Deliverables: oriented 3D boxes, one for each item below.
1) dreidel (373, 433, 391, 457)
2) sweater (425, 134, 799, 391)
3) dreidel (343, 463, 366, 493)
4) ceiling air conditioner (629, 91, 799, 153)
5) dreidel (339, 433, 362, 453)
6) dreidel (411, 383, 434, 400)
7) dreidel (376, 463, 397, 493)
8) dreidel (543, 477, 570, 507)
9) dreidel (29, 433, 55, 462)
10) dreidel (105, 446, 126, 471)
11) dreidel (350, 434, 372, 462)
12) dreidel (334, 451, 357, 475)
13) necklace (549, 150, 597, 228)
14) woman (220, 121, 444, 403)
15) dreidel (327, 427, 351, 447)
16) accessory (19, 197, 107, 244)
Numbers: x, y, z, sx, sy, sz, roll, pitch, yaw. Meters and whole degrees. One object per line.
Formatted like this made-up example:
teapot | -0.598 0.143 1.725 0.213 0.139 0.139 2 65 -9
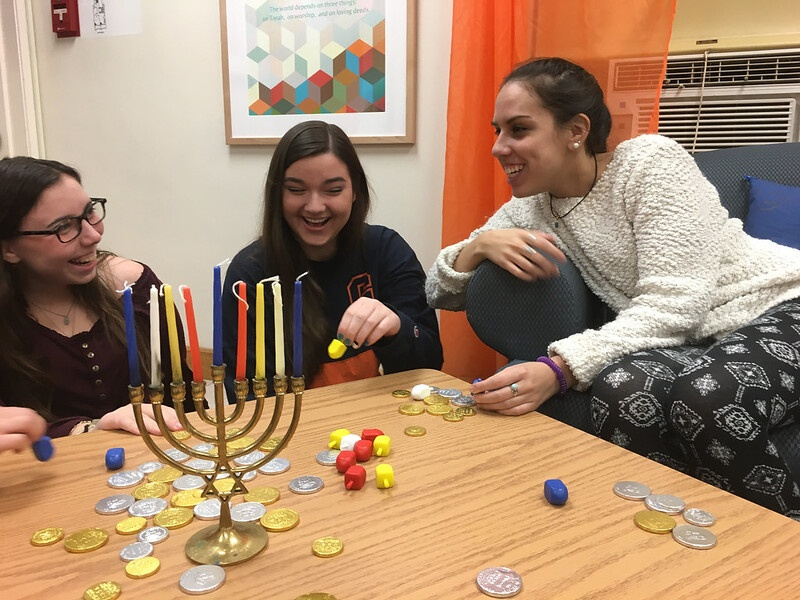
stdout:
dreidel | -0.034 0.283 1.118 0.036 0.023 0.036 5 9 29
sweater | 0.675 -0.137 1.688 1.003 0.465 0.606 -9 1 -16
dreidel | -0.080 0.319 1.017 0.028 0.024 0.046 3 20 10
ceiling air conditioner | 1.337 -0.735 2.332 0.642 0.300 0.273 7 -25 18
dreidel | -0.102 0.283 1.132 0.026 0.016 0.035 -1 2 10
dreidel | 0.056 0.219 1.365 0.032 0.019 0.043 5 11 38
dreidel | -0.026 0.321 1.016 0.031 0.027 0.041 2 7 -1
dreidel | 0.271 0.329 0.966 0.038 0.035 0.053 -10 17 -7
dreidel | -0.685 0.280 1.074 0.019 0.057 0.039 8 49 21
dreidel | -0.543 0.301 1.074 0.042 0.037 0.035 2 -20 0
dreidel | -0.070 0.286 1.095 0.039 0.033 0.040 2 10 14
dreidel | -0.102 0.303 1.066 0.041 0.036 0.039 -9 23 -21
necklace | 0.529 -0.331 1.721 0.037 0.196 0.156 20 3 -36
woman | -0.200 0.025 1.880 0.567 0.610 0.442 -2 34 -12
dreidel | -0.124 0.277 1.153 0.024 0.021 0.040 8 13 24
accessory | -0.927 -0.213 1.533 0.161 0.043 0.154 4 25 21
